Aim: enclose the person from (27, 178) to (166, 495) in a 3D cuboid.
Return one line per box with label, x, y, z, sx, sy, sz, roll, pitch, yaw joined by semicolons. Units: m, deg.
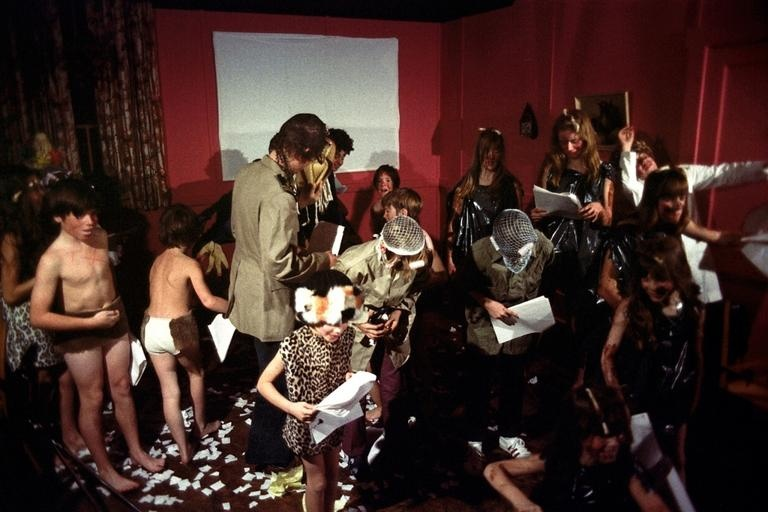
person;-1.862;0.544;3.538;0.595;2.049;0.371;-1;15;0
